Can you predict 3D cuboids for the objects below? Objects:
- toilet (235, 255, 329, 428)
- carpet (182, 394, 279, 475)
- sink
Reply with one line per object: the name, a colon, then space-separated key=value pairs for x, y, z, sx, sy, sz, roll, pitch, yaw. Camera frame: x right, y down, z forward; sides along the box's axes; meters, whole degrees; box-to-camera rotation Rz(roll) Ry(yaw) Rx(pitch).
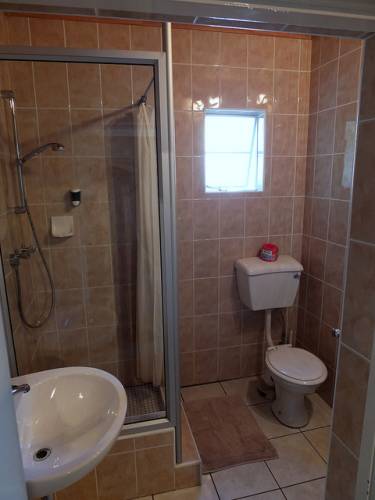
toilet: x=0.588 y=0.579 z=2.539 sx=0.412 sy=0.934 sz=0.728 roll=-3 pitch=12 yaw=-15
carpet: x=0.233 y=1.087 z=2.413 sx=0.436 sy=0.028 sz=0.633 roll=-3 pitch=14 yaw=-13
sink: x=-0.337 y=0.585 z=1.296 sx=0.374 sy=0.221 sz=0.500 roll=1 pitch=24 yaw=-16
